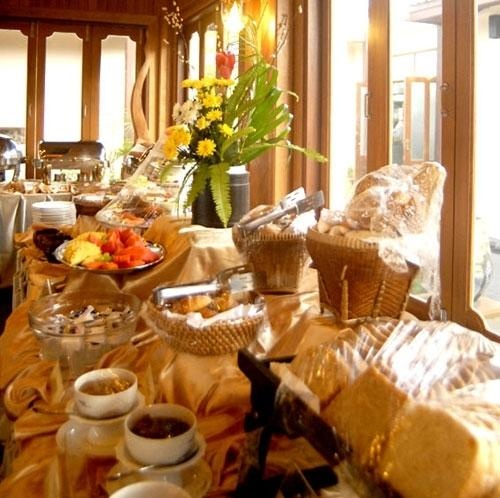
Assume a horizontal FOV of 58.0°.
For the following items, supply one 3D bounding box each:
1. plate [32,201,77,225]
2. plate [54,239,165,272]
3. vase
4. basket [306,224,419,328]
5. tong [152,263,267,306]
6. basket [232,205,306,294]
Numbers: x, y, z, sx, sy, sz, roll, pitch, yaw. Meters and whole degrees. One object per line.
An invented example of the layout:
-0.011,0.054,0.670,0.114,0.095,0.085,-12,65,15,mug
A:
-0.814,-0.151,1.903,0.130,0.059,0.125,1,6,-5,plate
-0.413,0.020,1.261,0.372,0.056,0.208,3,9,15,plate
-0.070,-0.137,1.293,0.167,0.165,0.170,1,5,1,vase
0.177,0.032,0.696,0.140,0.112,0.148,3,3,28,basket
-0.083,0.047,0.861,0.240,0.068,0.068,-9,8,-31,tong
0.035,0.004,0.892,0.163,0.155,0.166,-2,-2,-9,basket
